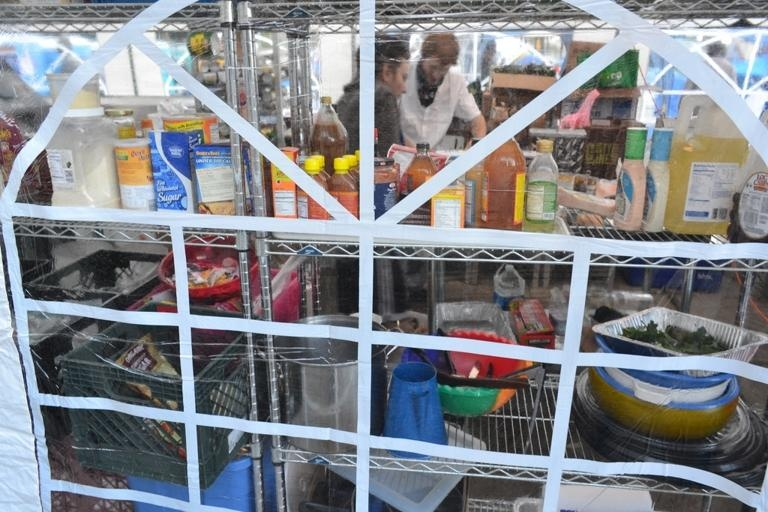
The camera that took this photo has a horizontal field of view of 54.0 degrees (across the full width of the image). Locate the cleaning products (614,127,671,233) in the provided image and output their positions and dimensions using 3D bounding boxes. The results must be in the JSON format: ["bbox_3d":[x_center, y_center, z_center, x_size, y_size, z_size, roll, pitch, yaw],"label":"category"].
[{"bbox_3d":[0.693,-0.203,2.016,0.134,0.281,0.032,6,14,18],"label":"cleaning products"}]

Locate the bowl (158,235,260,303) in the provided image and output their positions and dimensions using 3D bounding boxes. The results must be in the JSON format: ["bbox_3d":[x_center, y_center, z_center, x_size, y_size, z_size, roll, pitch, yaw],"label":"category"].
[{"bbox_3d":[-0.535,0.046,2.395,0.234,0.242,0.104,-4,36,-35],"label":"bowl"}]

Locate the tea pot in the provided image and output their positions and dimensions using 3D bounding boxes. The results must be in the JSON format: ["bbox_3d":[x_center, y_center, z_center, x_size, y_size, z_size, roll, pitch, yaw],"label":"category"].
[{"bbox_3d":[0.082,0.442,2.221,0.255,0.261,0.258,-1,9,0],"label":"tea pot"}]

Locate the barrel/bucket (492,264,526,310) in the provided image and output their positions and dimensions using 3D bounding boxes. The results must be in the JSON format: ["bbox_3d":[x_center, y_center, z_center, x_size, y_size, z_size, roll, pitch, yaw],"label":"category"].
[{"bbox_3d":[0.364,0.086,2.175,0.092,0.152,0.083,-7,32,-3],"label":"barrel/bucket"}]

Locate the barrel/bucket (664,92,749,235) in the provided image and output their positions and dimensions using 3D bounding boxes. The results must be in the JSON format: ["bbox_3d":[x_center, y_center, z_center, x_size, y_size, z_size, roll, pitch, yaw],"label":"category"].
[{"bbox_3d":[0.909,-0.248,2.032,0.252,0.320,0.219,-9,20,-9],"label":"barrel/bucket"}]

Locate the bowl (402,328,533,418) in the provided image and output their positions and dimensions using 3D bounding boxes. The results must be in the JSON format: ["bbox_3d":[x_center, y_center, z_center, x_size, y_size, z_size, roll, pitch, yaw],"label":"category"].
[{"bbox_3d":[0.271,0.356,2.318,0.371,0.154,0.372,12,10,-2],"label":"bowl"}]

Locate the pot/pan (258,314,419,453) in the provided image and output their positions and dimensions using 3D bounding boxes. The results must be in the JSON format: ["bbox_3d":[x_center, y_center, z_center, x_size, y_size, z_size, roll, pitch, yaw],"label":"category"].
[{"bbox_3d":[-0.165,0.349,2.414,0.421,0.354,0.401,2,19,3],"label":"pot/pan"}]

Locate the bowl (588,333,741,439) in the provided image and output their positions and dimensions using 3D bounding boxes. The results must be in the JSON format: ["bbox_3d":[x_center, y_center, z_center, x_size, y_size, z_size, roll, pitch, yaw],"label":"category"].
[{"bbox_3d":[0.790,0.377,2.096,0.345,0.127,0.309,-6,14,-19],"label":"bowl"}]
